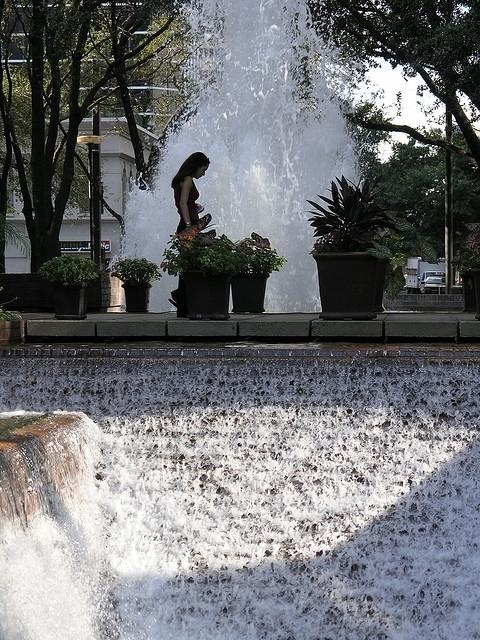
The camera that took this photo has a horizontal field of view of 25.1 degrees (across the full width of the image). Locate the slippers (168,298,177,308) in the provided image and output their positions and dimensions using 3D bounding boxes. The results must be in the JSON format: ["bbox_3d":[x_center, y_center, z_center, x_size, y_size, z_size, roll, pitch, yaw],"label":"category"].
[{"bbox_3d":[-0.984,-0.250,15.401,0.037,0.168,0.145,-9,4,-23],"label":"slippers"}]

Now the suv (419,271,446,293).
[{"bbox_3d":[8.031,-1.569,44.317,0.937,1.080,1.861,-1,-3,3],"label":"suv"}]

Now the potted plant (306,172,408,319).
[{"bbox_3d":[1.266,-0.871,12.133,0.944,1.663,2.383,-1,3,4],"label":"potted plant"}]
